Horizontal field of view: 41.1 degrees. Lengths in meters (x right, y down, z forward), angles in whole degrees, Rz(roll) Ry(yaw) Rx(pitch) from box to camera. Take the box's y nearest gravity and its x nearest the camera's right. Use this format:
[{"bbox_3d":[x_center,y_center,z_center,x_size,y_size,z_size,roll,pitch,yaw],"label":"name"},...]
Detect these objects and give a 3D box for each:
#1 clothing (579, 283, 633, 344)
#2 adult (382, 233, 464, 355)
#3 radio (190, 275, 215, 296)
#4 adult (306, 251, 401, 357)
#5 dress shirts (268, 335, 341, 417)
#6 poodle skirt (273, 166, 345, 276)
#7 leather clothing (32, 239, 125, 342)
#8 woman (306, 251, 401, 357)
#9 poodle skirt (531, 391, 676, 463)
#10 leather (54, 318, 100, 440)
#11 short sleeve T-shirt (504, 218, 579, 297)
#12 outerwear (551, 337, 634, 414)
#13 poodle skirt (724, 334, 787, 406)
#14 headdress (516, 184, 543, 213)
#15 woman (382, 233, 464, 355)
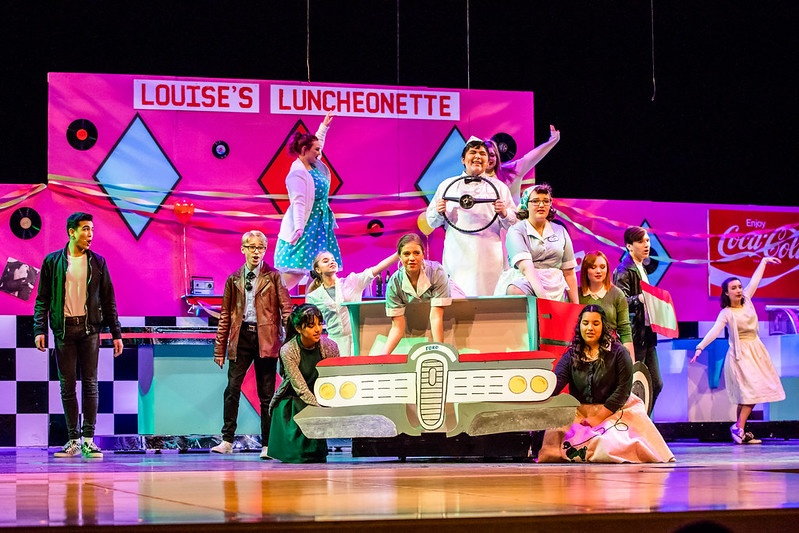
[{"bbox_3d":[1.603,0.375,8.339,0.445,0.518,0.277,-5,-5,9],"label":"clothing"},{"bbox_3d":[0.073,0.306,8.052,0.593,0.993,0.412,-2,-30,-2],"label":"adult"},{"bbox_3d":[-1.791,0.203,9.665,0.245,0.218,0.149,3,-17,-24],"label":"radio"},{"bbox_3d":[-0.400,0.337,8.824,0.837,1.029,0.232,-3,-1,-28],"label":"adult"},{"bbox_3d":[-0.729,0.761,8.293,0.446,0.789,0.489,0,12,6],"label":"dress shirts"},{"bbox_3d":[-0.854,-0.397,9.637,0.618,1.169,0.928,-2,-4,19],"label":"poodle skirt"},{"bbox_3d":[-2.720,0.228,8.893,0.849,1.055,0.377,0,-7,-18],"label":"leather clothing"},{"bbox_3d":[-0.400,0.337,8.824,0.837,1.029,0.232,-3,-1,-28],"label":"woman"},{"bbox_3d":[1.530,1.225,8.275,0.926,0.519,1.246,-8,-7,27],"label":"poodle skirt"},{"bbox_3d":[-2.641,0.914,8.711,0.287,0.972,0.279,-8,-13,27],"label":"leather"},{"bbox_3d":[1.097,0.001,8.541,0.691,0.769,0.475,3,-5,-21],"label":"short sleeve T-shirt"},{"bbox_3d":[1.444,0.805,8.086,0.596,0.545,0.367,8,-8,7],"label":"outerwear"},{"bbox_3d":[3.354,0.917,10.103,0.531,0.724,0.420,-2,-5,-27],"label":"poodle skirt"},{"bbox_3d":[1.038,-0.563,8.691,0.173,0.230,0.229,-4,-33,-2],"label":"headdress"},{"bbox_3d":[0.067,0.310,8.037,0.596,1.042,0.423,0,-32,-5],"label":"woman"}]
